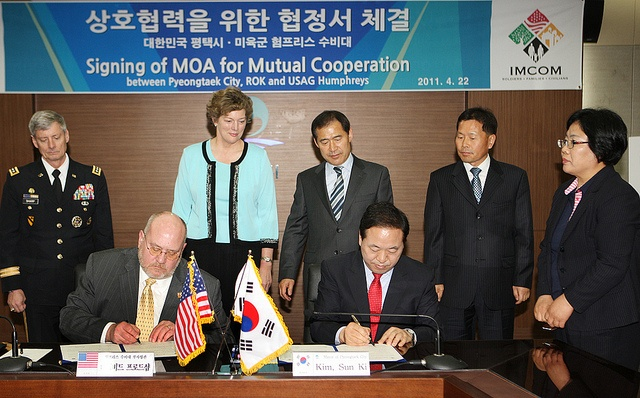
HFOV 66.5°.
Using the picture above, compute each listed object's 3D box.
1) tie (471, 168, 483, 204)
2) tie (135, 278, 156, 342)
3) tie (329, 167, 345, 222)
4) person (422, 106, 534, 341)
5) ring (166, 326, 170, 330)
[{"bbox_3d":[1.414,-0.120,4.369,0.115,0.304,0.039,1,-22,8],"label":"tie"},{"bbox_3d":[-1.242,0.777,3.542,0.144,0.533,0.125,10,25,-13],"label":"tie"},{"bbox_3d":[0.166,-0.093,4.549,0.162,0.040,0.615,1,40,7],"label":"tie"},{"bbox_3d":[1.419,0.232,4.331,0.946,2.075,0.432,2,7,11],"label":"person"},{"bbox_3d":[-1.035,0.877,3.321,0.026,0.021,0.006,0,-11,-8],"label":"ring"}]
